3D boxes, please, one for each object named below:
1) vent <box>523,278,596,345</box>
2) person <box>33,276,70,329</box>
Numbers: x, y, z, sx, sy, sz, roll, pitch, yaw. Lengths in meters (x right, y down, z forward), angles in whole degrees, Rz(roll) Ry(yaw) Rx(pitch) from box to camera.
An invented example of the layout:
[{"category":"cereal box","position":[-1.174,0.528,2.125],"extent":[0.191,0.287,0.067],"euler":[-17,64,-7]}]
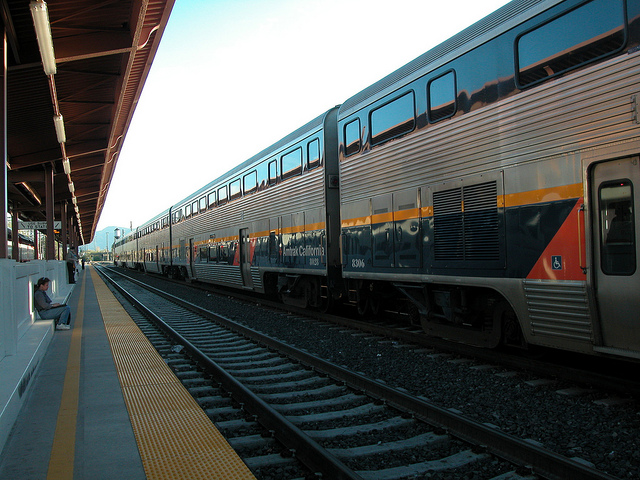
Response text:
[{"category":"vent","position":[2.838,0.846,5.146],"extent":[0.083,0.880,0.824],"euler":[-7,4,-34]},{"category":"person","position":[-5.770,1.388,9.419],"extent":[0.660,1.086,0.538],"euler":[0,-3,-31]}]
